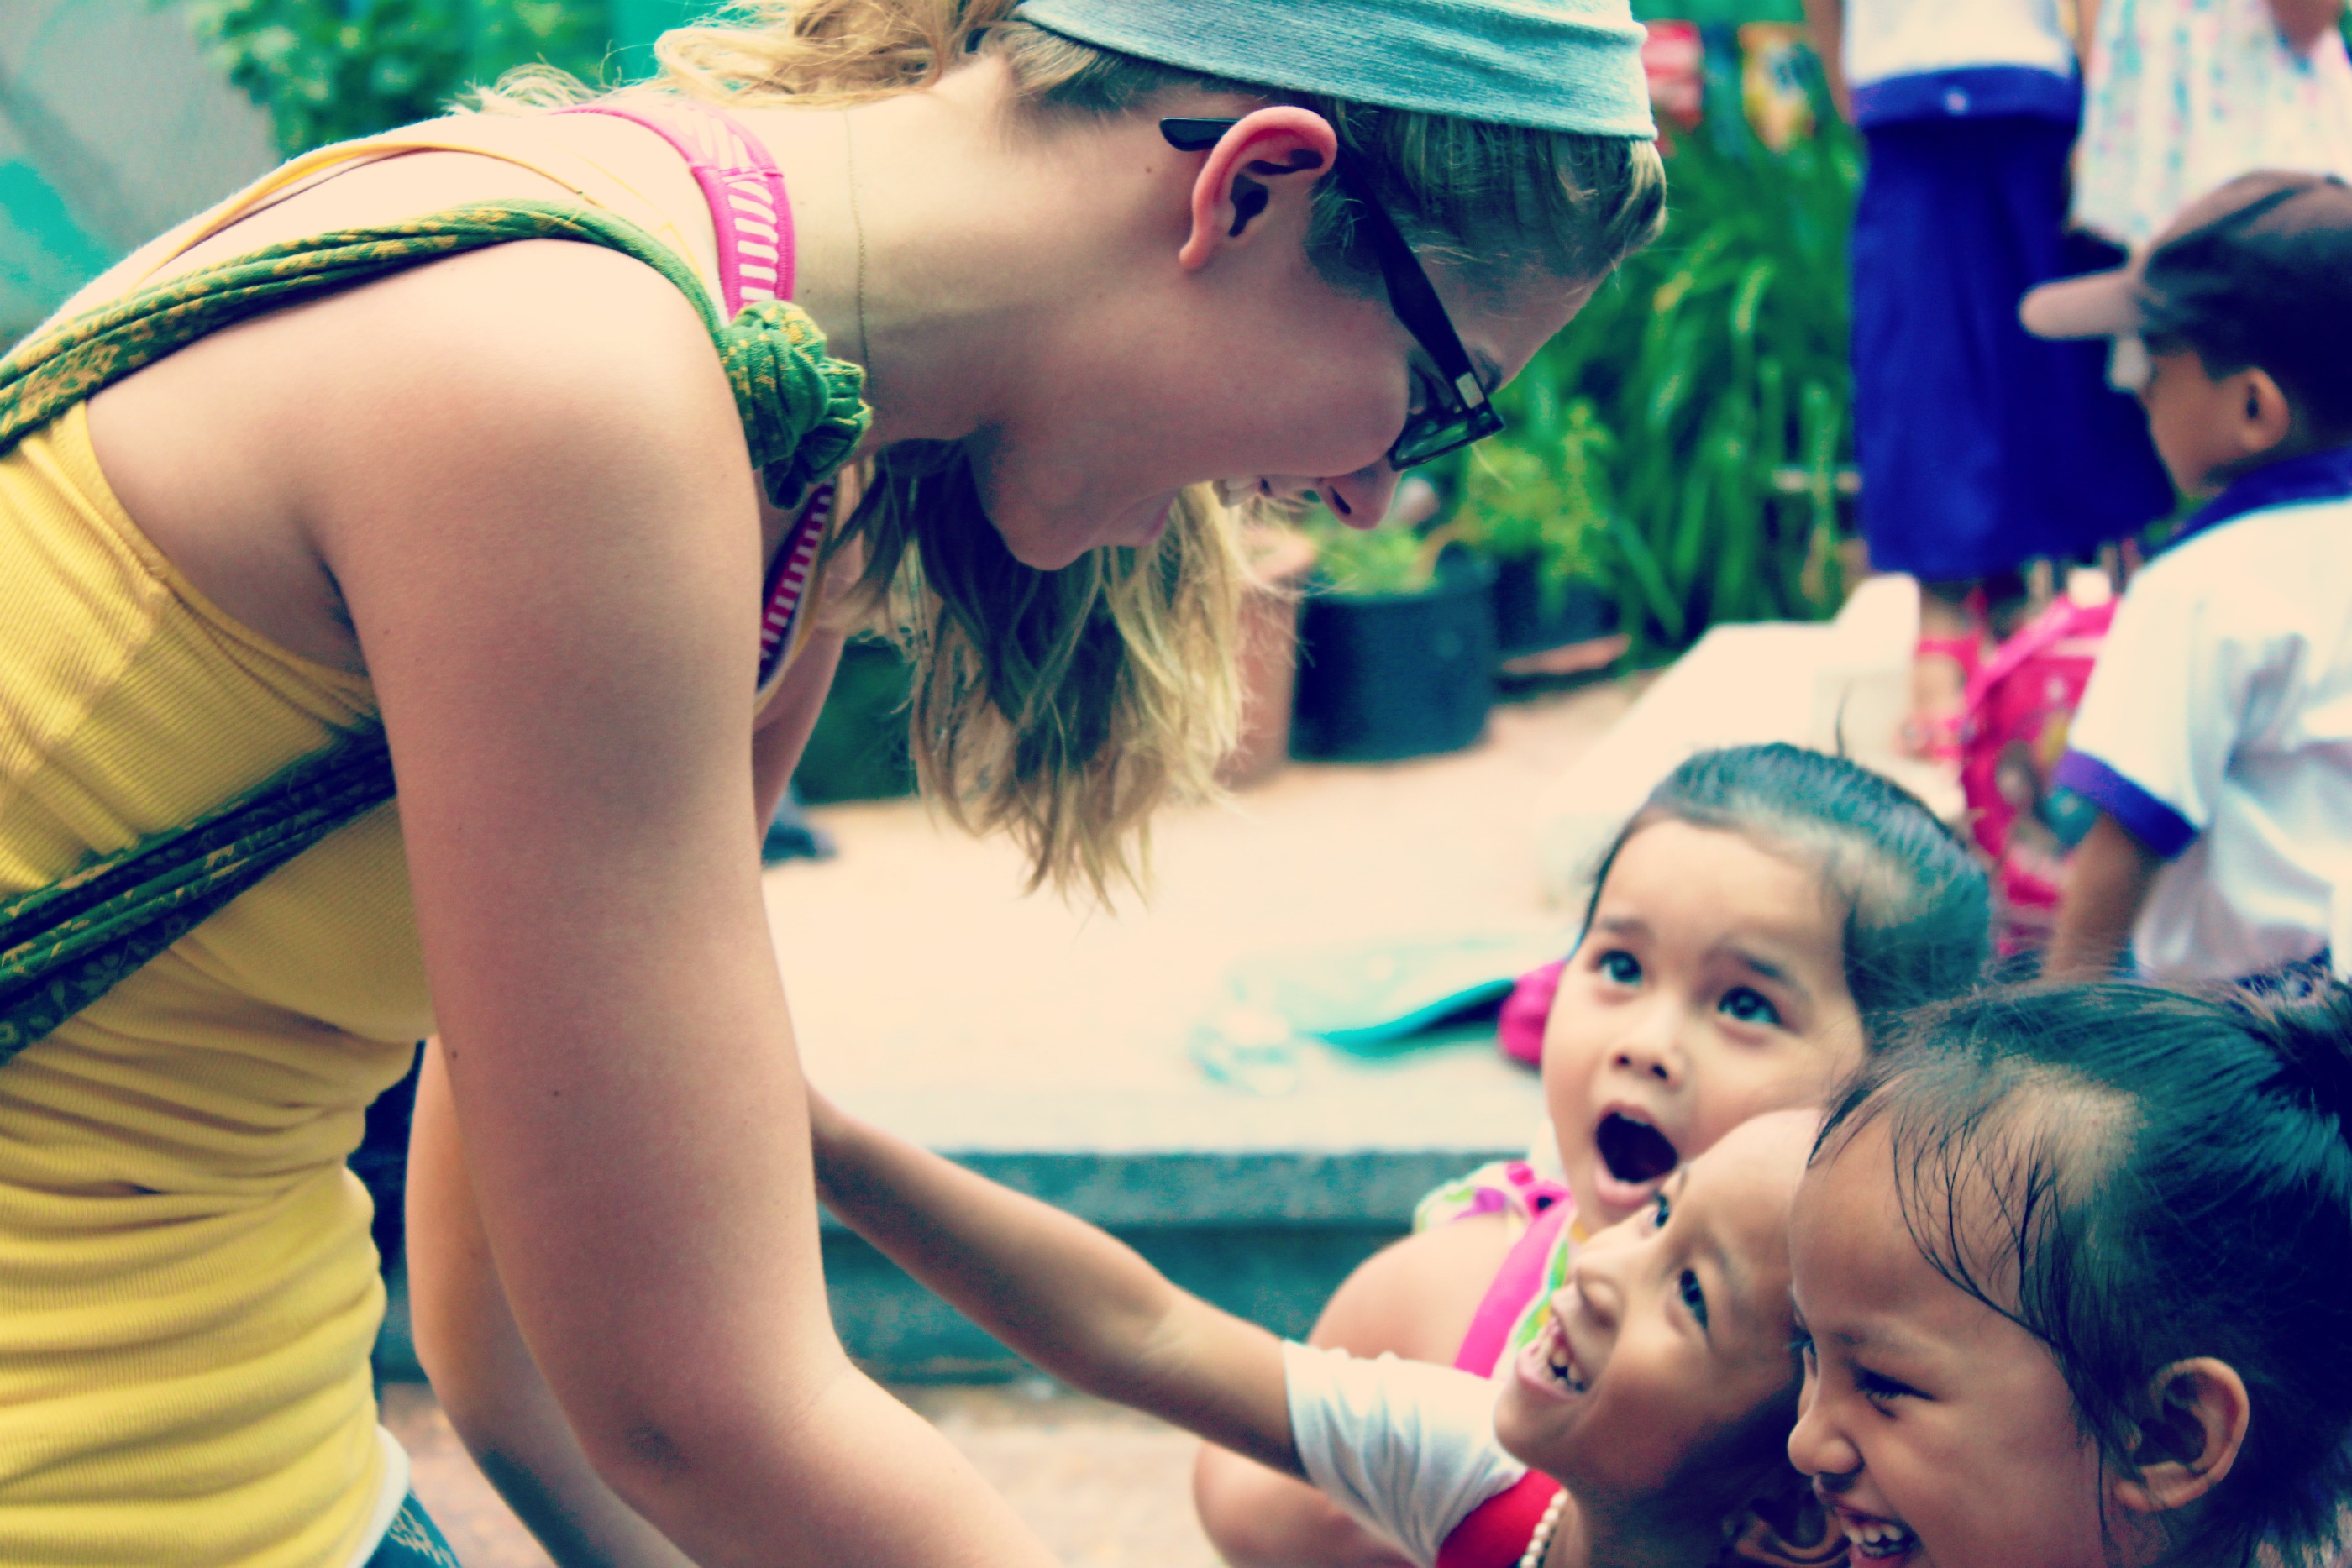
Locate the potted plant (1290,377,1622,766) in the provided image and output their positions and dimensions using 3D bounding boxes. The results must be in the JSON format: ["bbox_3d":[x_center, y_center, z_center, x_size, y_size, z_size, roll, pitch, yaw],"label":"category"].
[{"bbox_3d":[0.648,-0.466,6.380,0.616,0.470,1.019,-2,13,-7],"label":"potted plant"}]

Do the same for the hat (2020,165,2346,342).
[{"bbox_3d":[1.387,-0.701,3.855,0.350,0.180,0.233,-15,3,27],"label":"hat"}]
